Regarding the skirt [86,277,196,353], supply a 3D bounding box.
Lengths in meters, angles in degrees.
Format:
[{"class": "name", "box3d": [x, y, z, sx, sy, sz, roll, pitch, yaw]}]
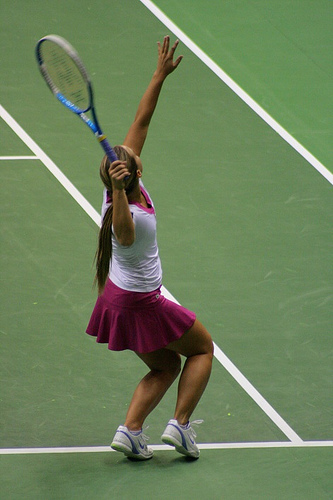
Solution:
[{"class": "skirt", "box3d": [-0.107, 0.311, 2.973, 0.460, 0.347, 0.611, -8, 8, -41]}]
